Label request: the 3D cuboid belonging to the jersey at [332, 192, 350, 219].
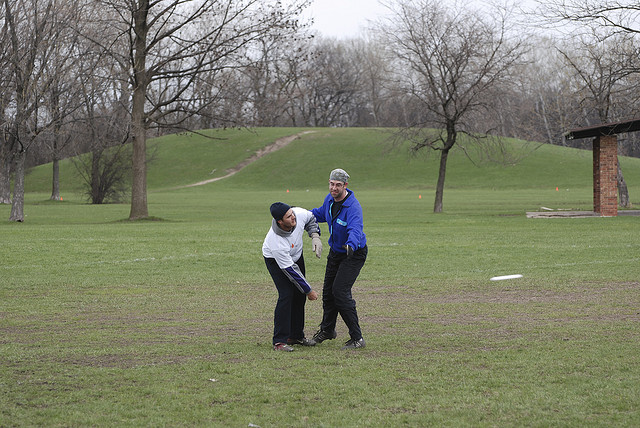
[{"bbox_3d":[0.548,-0.311,29.660,0.573,0.701,0.408,4,-15,40],"label":"jersey"}]
